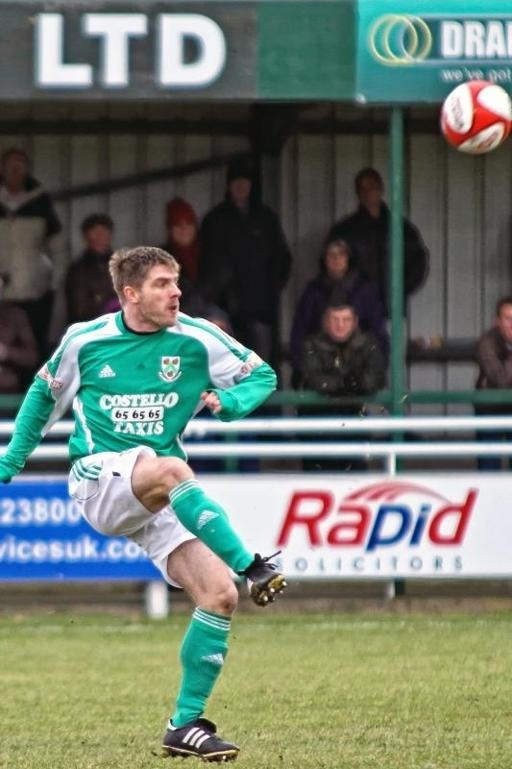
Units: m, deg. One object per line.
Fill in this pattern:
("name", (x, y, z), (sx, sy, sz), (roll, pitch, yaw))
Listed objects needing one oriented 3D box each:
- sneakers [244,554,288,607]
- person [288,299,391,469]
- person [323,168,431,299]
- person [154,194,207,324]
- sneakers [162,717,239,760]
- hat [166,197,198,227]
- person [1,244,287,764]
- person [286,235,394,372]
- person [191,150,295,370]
("sneakers", (0.014, 0.603, 5.858), (0.120, 0.174, 0.340), (-25, 3, 0))
("person", (0.428, 0.057, 9.157), (0.419, 1.066, 0.339), (-7, 30, -5))
("person", (0.639, -0.754, 9.181), (0.516, 0.873, 0.277), (-8, -11, 4))
("person", (-0.397, -0.575, 9.367), (0.271, 0.836, 0.263), (3, -9, -18))
("sneakers", (-0.192, 1.165, 5.955), (0.289, 0.151, 0.109), (1, -5, 24))
("hat", (-0.409, -0.915, 9.555), (0.127, 0.143, 0.172), (-26, 5, -15))
("person", (-0.358, 0.388, 6.196), (1.190, 1.685, 0.586), (5, 8, 29))
("person", (0.422, -0.171, 9.035), (0.493, 1.077, 0.290), (-5, -7, 12))
("person", (-0.063, -0.385, 9.371), (0.535, 1.529, 0.398), (-1, -9, -5))
